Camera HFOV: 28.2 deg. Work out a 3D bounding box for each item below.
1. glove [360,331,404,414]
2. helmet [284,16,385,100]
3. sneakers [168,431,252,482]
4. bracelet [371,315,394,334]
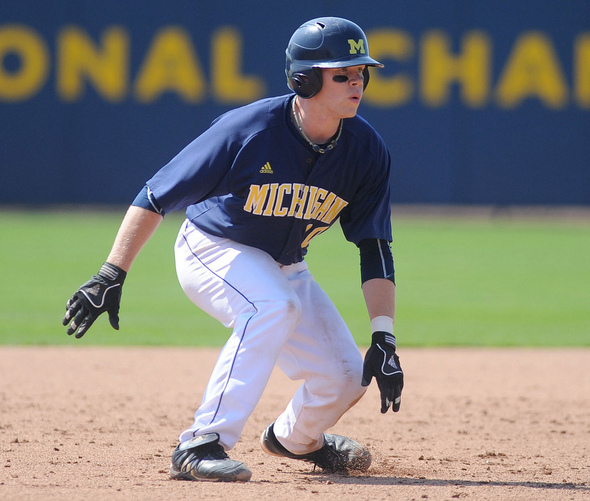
[{"bbox_3d":[0.541,0.766,7.415,0.282,0.473,0.146,4,-11,-33],"label":"glove"},{"bbox_3d":[0.223,-1.188,7.429,0.486,0.446,0.558,5,-4,-41],"label":"helmet"},{"bbox_3d":[-0.530,1.269,7.203,0.475,0.233,0.239,-2,-6,29],"label":"sneakers"},{"bbox_3d":[0.551,0.472,7.508,0.112,0.088,0.113,1,-8,-18],"label":"bracelet"}]
